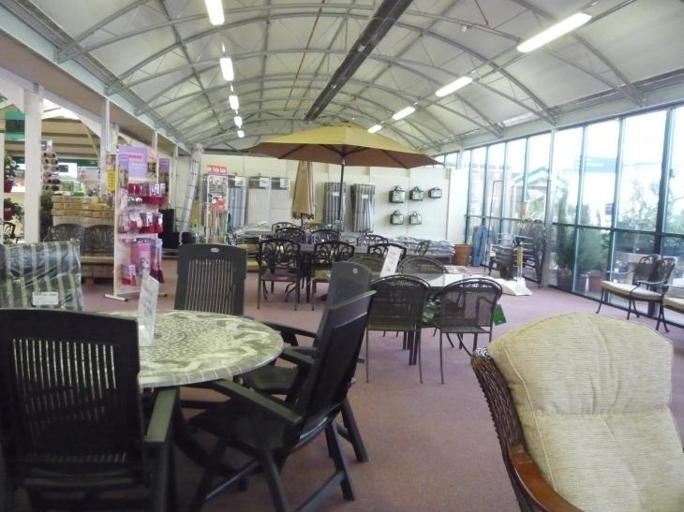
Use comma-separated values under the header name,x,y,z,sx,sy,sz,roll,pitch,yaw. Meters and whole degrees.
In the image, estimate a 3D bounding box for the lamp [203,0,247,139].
name,x,y,z,sx,sy,sz,roll,pitch,yaw
lamp,-2.588,-4.134,11.040,0.189,1.906,0.174,-4,31,12

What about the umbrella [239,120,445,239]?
name,x,y,z,sx,sy,sz,roll,pitch,yaw
umbrella,-0.160,-1.316,6.519,1.945,1.203,1.924,13,6,19
